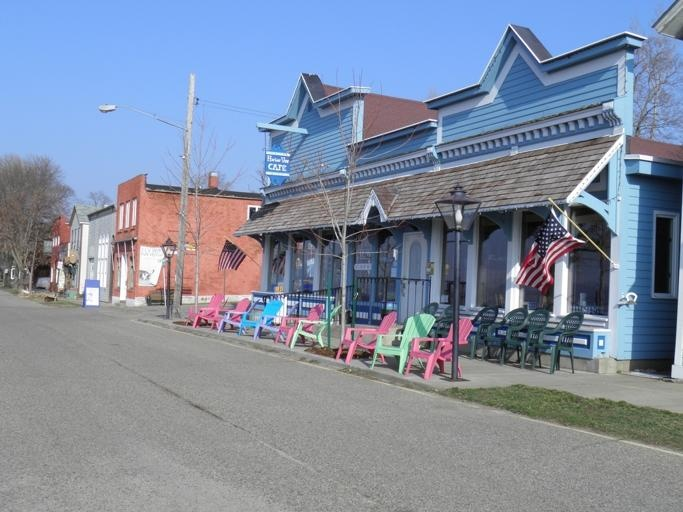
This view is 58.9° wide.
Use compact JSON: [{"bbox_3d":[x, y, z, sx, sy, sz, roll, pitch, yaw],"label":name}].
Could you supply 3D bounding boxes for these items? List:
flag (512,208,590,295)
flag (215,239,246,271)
[{"bbox_3d":[5.074,-0.075,14.469,0.189,1.896,1.780,4,5,-32],"label":"flag"},{"bbox_3d":[-6.162,-0.069,33.432,1.619,1.581,0.145,43,2,9],"label":"flag"}]
